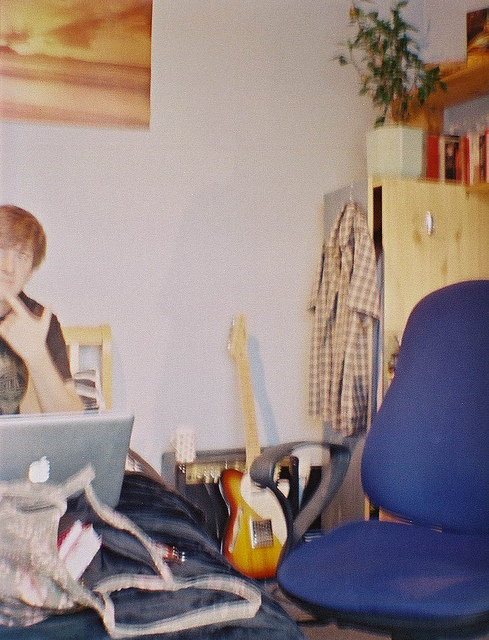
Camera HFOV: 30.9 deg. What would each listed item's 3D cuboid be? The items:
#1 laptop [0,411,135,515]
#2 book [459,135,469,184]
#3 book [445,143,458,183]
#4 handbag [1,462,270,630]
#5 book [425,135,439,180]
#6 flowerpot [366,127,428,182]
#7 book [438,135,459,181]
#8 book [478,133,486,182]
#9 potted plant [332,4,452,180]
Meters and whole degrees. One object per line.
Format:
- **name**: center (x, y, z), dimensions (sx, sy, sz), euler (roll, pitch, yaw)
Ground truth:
- **laptop**: center (-0.375, 0.242, 1.842), dimensions (0.238, 0.194, 0.186), euler (2, 4, -15)
- **book**: center (0.853, -0.615, 3.448), dimensions (0.034, 0.164, 0.019), euler (0, 8, 22)
- **book**: center (0.804, -0.605, 3.440), dimensions (0.050, 0.016, 0.190), euler (12, -43, 25)
- **handbag**: center (-0.246, 0.462, 1.869), dimensions (0.451, 0.367, 0.167), euler (-24, 20, -23)
- **book**: center (0.729, -0.626, 3.415), dimensions (0.045, 0.016, 0.216), euler (14, -35, 22)
- **flowerpot**: center (0.559, -0.607, 3.303), dimensions (0.201, 0.200, 0.102), euler (0, -4, 8)
- **book**: center (0.782, -0.623, 3.438), dimensions (0.068, 0.183, 0.021), euler (1, 22, 18)
- **book**: center (0.912, -0.614, 3.386), dimensions (0.014, 0.192, 0.042), euler (2, -4, -22)
- **potted plant**: center (0.586, -0.915, 3.520), dimensions (0.474, 0.878, 0.570), euler (0, -4, 5)
